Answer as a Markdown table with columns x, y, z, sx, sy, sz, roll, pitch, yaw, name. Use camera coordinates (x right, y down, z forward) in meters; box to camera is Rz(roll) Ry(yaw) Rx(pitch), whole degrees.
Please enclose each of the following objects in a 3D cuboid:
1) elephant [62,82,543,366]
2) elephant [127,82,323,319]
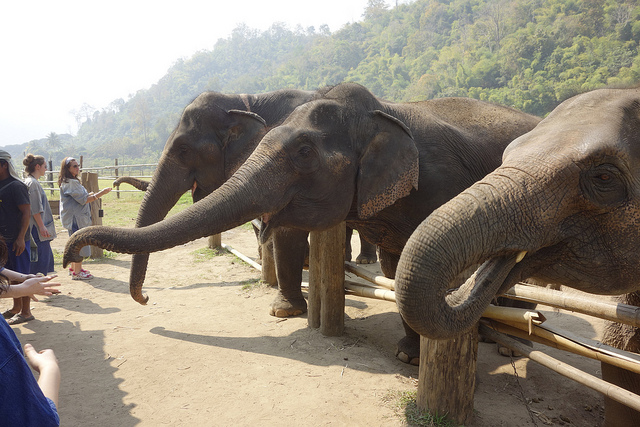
| x | y | z | sx | sy | sz | roll | pitch | yaw | name |
| --- | --- | --- | --- | --- | --- | --- | --- | --- | --- |
| 0.254 | 0.113 | 5.230 | 5.310 | 2.771 | 1.928 | 1 | -5 | -13 | elephant |
| -0.726 | -0.314 | 5.857 | 2.944 | 2.110 | 1.332 | -12 | 11 | -35 | elephant |
